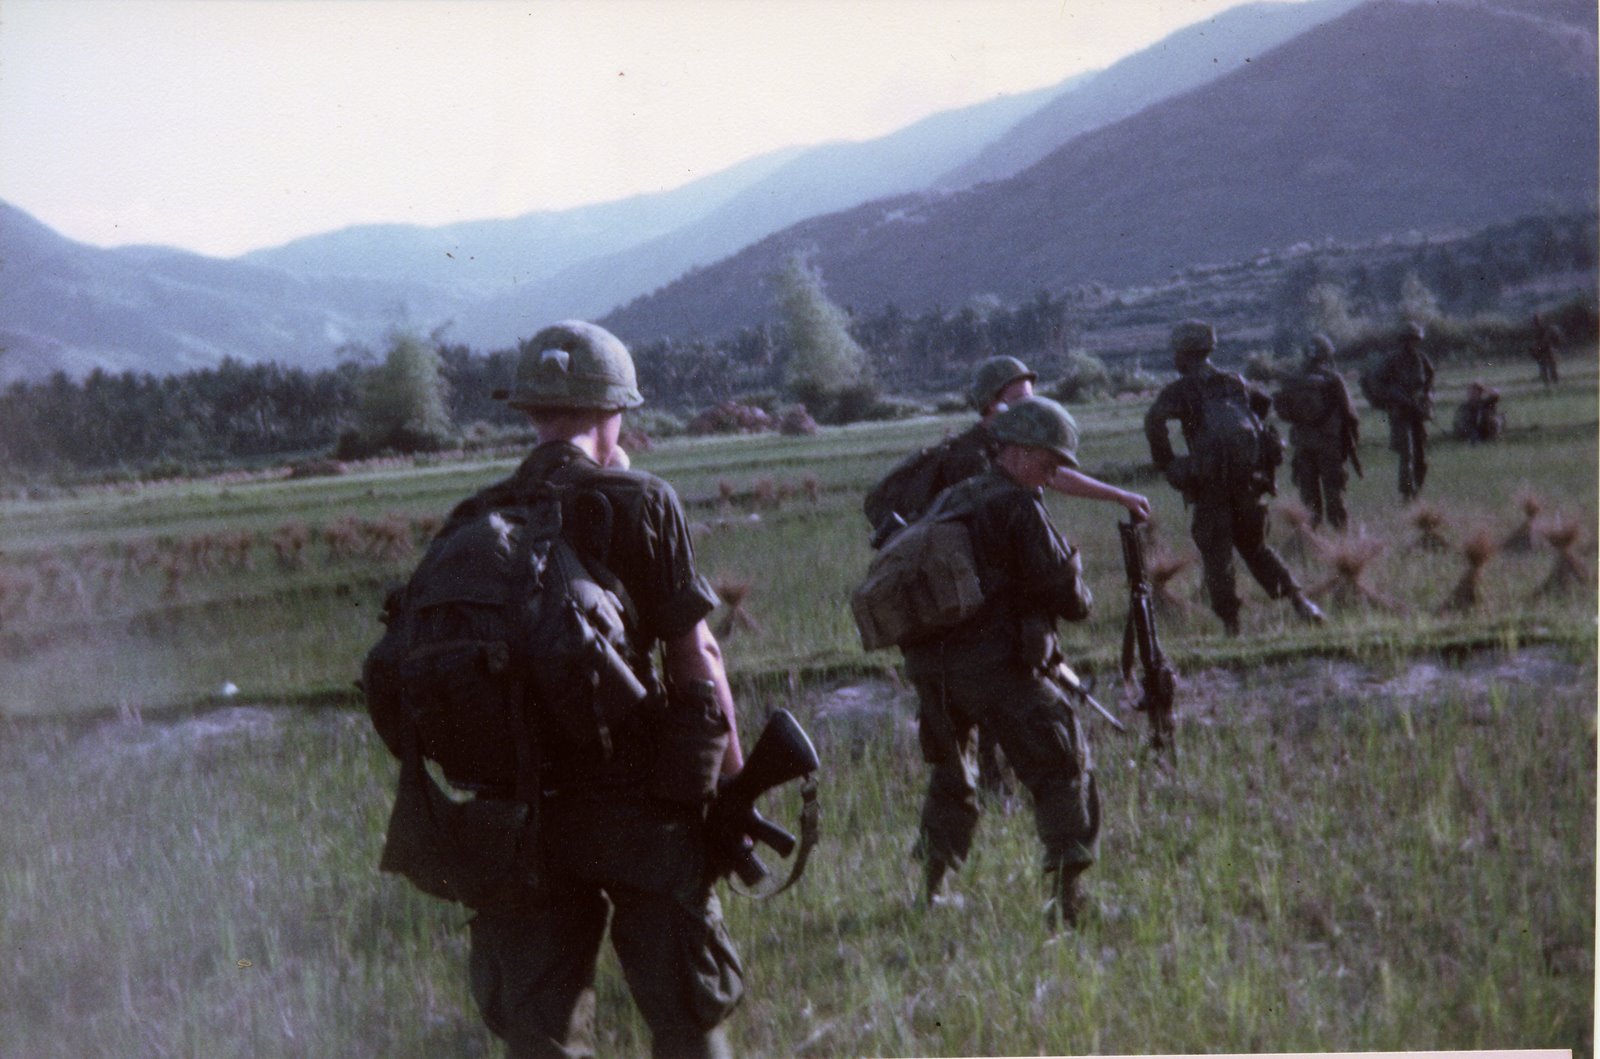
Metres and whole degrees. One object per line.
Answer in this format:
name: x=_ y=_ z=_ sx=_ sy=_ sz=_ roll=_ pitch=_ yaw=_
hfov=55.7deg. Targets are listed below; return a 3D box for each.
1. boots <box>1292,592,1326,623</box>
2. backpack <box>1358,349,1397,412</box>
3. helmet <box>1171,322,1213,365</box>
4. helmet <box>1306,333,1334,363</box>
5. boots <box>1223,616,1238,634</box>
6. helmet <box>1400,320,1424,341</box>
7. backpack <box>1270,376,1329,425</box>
boots: x=3.752 y=0.596 z=11.117 sx=0.087 sy=0.187 sz=0.045 roll=-5 pitch=-30 yaw=-13
backpack: x=4.377 y=-1.102 z=11.414 sx=0.243 sy=0.401 sz=0.139 roll=-7 pitch=-3 yaw=14
helmet: x=2.932 y=-1.364 z=11.260 sx=0.274 sy=0.334 sz=0.248 roll=3 pitch=16 yaw=27
helmet: x=3.974 y=-1.347 z=11.511 sx=0.186 sy=0.224 sz=0.156 roll=-7 pitch=11 yaw=-36
boots: x=3.220 y=0.731 z=11.218 sx=0.098 sy=0.116 sz=0.044 roll=5 pitch=-2 yaw=0
helmet: x=4.634 y=-1.471 z=11.436 sx=0.110 sy=0.166 sz=0.084 roll=4 pitch=-6 yaw=-1
backpack: x=3.829 y=-0.967 z=11.539 sx=0.280 sy=0.394 sz=0.128 roll=-5 pitch=-19 yaw=28
